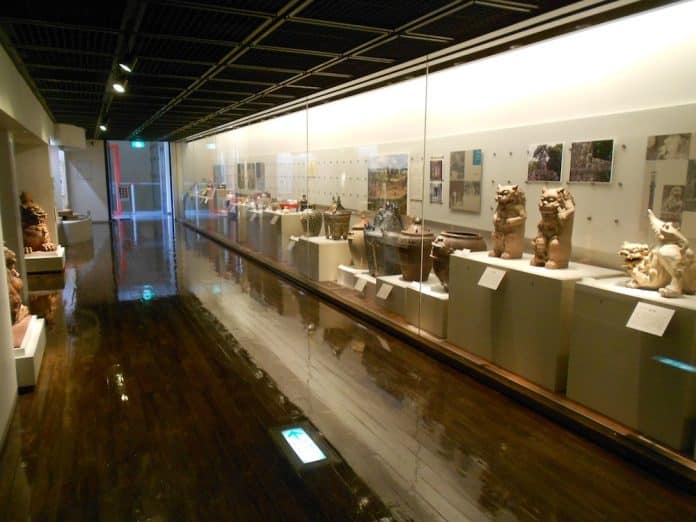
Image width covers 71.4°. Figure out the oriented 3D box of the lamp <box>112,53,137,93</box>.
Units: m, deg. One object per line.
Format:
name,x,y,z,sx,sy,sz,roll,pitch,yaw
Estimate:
lamp,-2.930,-2.480,6.342,0.149,0.263,0.146,38,32,8
